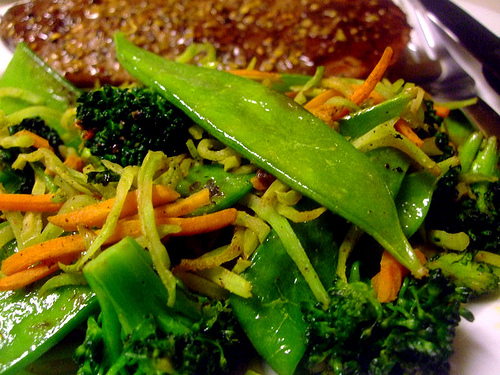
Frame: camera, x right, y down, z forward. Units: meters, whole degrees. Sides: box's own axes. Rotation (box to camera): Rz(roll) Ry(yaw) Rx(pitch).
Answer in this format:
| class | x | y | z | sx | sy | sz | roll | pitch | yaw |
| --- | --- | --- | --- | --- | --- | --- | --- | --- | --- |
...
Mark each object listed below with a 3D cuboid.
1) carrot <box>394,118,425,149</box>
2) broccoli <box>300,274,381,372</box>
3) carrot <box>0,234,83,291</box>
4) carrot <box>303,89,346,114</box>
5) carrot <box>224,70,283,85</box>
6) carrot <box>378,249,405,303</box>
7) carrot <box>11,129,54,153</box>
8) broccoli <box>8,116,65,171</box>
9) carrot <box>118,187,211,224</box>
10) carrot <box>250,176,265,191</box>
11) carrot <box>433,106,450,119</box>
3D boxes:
| class | x | y | z | sx | sy | sz | roll | pitch | yaw |
| --- | --- | --- | --- | --- | --- | --- | --- | --- | --- |
| carrot | 0.674 | -0.233 | 2.036 | 0.042 | 0.154 | 0.042 | -29 | -25 | -31 |
| broccoli | 0.348 | 0.525 | 1.865 | 0.305 | 0.136 | 0.326 | -17 | -9 | -29 |
| carrot | -0.833 | 0.294 | 1.904 | 0.377 | 0.148 | 0.074 | -29 | 29 | 6 |
| carrot | 0.358 | -0.414 | 2.266 | 0.142 | 0.041 | 0.153 | -30 | 10 | 47 |
| carrot | 0.016 | -0.551 | 2.388 | 0.173 | 0.047 | 0.170 | 3 | 12 | -12 |
| carrot | 0.574 | 0.361 | 1.937 | 0.183 | 0.113 | 0.055 | -63 | -2 | -4 |
| carrot | -1.019 | -0.235 | 2.280 | 0.048 | 0.139 | 0.139 | -52 | 12 | 9 |
| broccoli | -1.031 | -0.200 | 2.417 | 0.106 | 0.283 | 0.222 | -59 | 37 | 5 |
| carrot | -0.397 | 0.051 | 2.046 | 0.460 | 0.092 | 0.094 | -9 | 16 | 33 |
| carrot | 0.035 | -0.013 | 2.010 | 0.040 | 0.069 | 0.067 | -61 | -9 | 0 |
| carrot | 1.007 | -0.400 | 2.504 | 0.084 | 0.051 | 0.055 | 21 | 21 | 22 |
